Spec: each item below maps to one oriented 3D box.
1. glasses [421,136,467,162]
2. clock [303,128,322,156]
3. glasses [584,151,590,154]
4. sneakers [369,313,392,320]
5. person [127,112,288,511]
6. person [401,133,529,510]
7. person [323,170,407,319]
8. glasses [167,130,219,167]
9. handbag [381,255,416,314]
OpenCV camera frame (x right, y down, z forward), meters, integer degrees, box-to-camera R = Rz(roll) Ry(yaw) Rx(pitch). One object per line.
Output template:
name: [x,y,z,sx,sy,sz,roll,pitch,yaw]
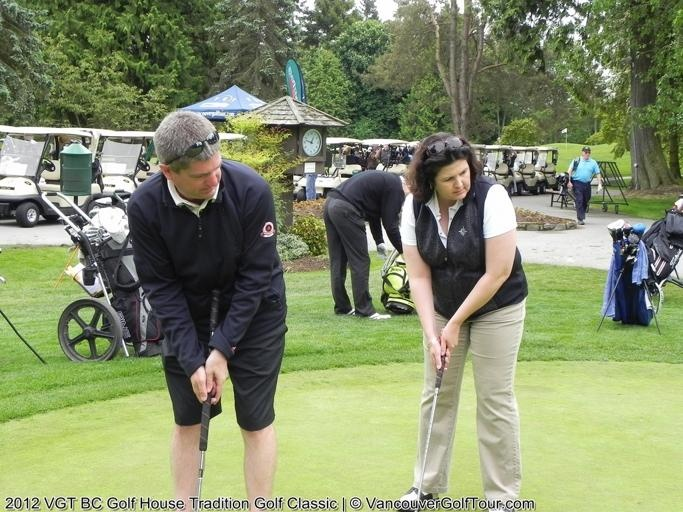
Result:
glasses: [0.591,-0.612,4.156,0.228,0.134,0.120,-1,4,4]
clock: [-0.596,-2.269,14.493,0.043,0.487,0.493,5,12,41]
glasses: [5.724,-2.420,17.107,0.070,0.035,0.098,1,1,-3]
sneakers: [0.455,0.703,8.601,0.263,0.116,0.089,-2,17,2]
person: [-0.727,0.327,4.081,0.851,2.235,0.426,-2,5,-14]
person: [0.713,0.387,4.315,0.727,2.210,0.361,0,5,11]
person: [0.271,-0.110,8.387,0.731,1.724,1.212,-5,6,-43]
glasses: [-0.755,-0.528,3.810,0.190,0.059,0.195,-35,9,-33]
handbag: [0.686,0.330,8.971,0.501,0.652,0.567,5,5,6]
